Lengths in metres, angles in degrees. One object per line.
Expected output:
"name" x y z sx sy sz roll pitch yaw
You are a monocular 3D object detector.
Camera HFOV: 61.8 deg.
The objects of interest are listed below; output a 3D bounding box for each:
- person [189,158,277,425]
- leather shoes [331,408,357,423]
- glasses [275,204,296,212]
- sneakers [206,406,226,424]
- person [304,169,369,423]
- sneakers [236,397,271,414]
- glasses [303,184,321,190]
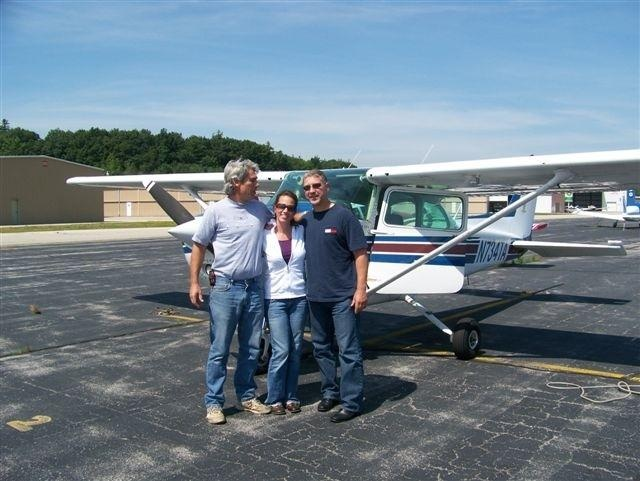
"person" -0.790 0.451 4.940 0.789 2.411 0.420 -3 6 -19
"leather shoes" 0.215 1.615 4.912 0.271 0.077 0.098 7 -16 -34
"glasses" -0.310 -0.302 4.867 0.177 0.064 0.071 -1 5 -6
"sneakers" -0.965 1.593 4.871 0.215 0.145 0.152 0 5 8
"person" 0.142 0.604 4.985 0.494 2.075 0.486 -3 6 -19
"sneakers" -0.624 1.570 5.083 0.311 0.092 0.122 1 5 26
"glasses" -0.078 -0.494 4.877 0.158 0.068 0.055 1 5 13
